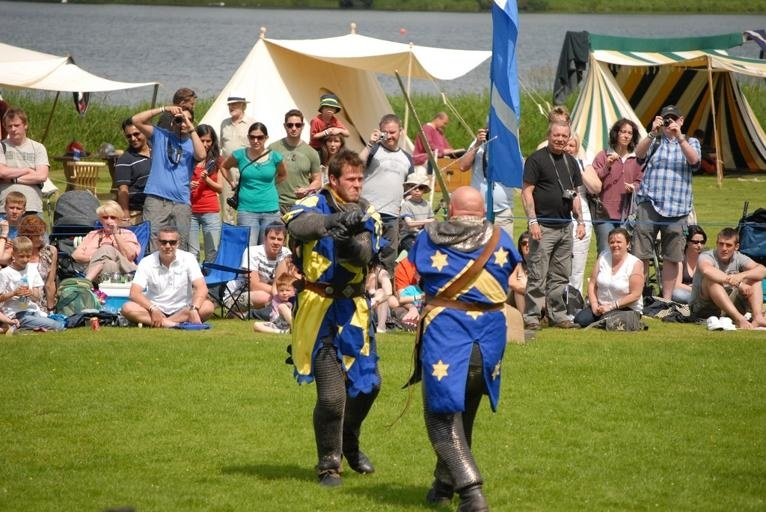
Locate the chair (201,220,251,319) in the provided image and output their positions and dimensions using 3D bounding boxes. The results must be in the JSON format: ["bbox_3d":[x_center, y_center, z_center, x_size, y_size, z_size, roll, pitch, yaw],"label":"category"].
[{"bbox_3d":[-3.125,0.236,35.791,0.936,1.812,0.804,1,-1,7],"label":"chair"}]

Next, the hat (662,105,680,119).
[{"bbox_3d":[5.629,-2.811,35.532,0.399,0.265,0.310,1,0,-3],"label":"hat"}]

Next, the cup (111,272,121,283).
[{"bbox_3d":[-5.290,0.412,35.699,0.192,0.187,0.189,2,5,0],"label":"cup"}]

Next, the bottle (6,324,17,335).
[{"bbox_3d":[-7.096,1.390,34.464,0.182,0.183,0.105,1,-1,-12],"label":"bottle"}]

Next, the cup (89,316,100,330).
[{"bbox_3d":[-5.566,1.296,34.840,0.173,0.253,0.292,1,0,-10],"label":"cup"}]

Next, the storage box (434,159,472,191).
[{"bbox_3d":[1.652,-1.929,42.682,0.884,0.542,0.858,1,-1,-32],"label":"storage box"}]

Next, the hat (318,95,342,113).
[{"bbox_3d":[-1.106,-3.134,36.890,0.378,0.342,0.501,1,0,-5],"label":"hat"}]

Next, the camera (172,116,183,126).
[{"bbox_3d":[-4.068,-2.671,35.607,0.173,0.164,0.270,12,11,-14],"label":"camera"}]

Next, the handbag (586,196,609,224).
[{"bbox_3d":[4.254,-0.908,36.025,0.514,0.489,0.283,-8,7,-32],"label":"handbag"}]

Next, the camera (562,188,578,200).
[{"bbox_3d":[3.579,-1.225,34.753,0.334,0.192,0.197,4,18,34],"label":"camera"}]

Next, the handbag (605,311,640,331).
[{"bbox_3d":[4.647,1.244,34.991,0.709,0.402,0.197,1,-1,5],"label":"handbag"}]

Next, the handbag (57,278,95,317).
[{"bbox_3d":[-6.029,0.826,35.392,0.696,0.721,0.717,2,-13,-24],"label":"handbag"}]

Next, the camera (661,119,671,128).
[{"bbox_3d":[5.558,-2.620,35.467,0.078,0.150,0.186,1,-1,-32],"label":"camera"}]

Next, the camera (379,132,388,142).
[{"bbox_3d":[-0.008,-2.345,35.521,0.145,0.142,0.091,1,-1,15],"label":"camera"}]

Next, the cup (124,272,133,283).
[{"bbox_3d":[-5.054,0.415,35.775,0.200,0.200,0.179,-5,-9,19],"label":"cup"}]

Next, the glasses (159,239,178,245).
[{"bbox_3d":[-4.165,-0.270,34.872,0.330,0.112,0.107,1,-1,-3],"label":"glasses"}]

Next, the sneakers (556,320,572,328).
[{"bbox_3d":[3.517,1.325,35.090,0.228,0.091,0.153,-6,-6,30],"label":"sneakers"}]

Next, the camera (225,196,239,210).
[{"bbox_3d":[-2.985,-1.087,36.336,0.286,0.259,0.208,-17,26,-37],"label":"camera"}]

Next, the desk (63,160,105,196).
[{"bbox_3d":[-6.751,-1.779,41.133,0.973,0.967,0.862,-1,10,-17],"label":"desk"}]
